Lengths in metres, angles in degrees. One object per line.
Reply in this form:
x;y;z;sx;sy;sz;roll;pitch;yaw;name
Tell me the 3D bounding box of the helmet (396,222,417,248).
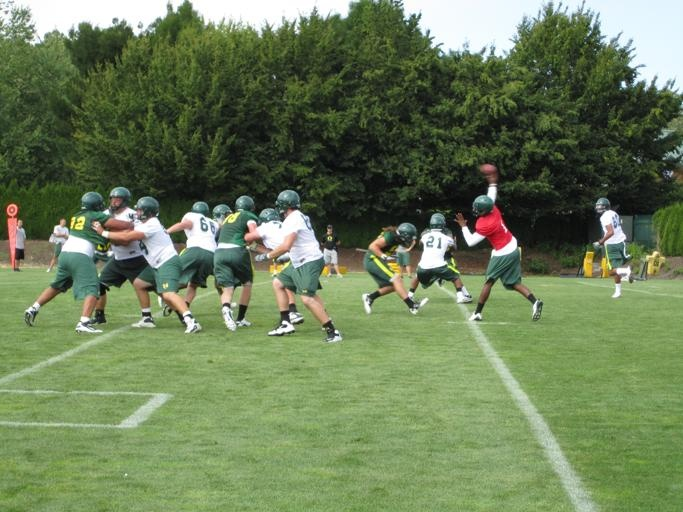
1.174;-0.397;13.121;0.352;0.427;0.429;1;-24;8;helmet
